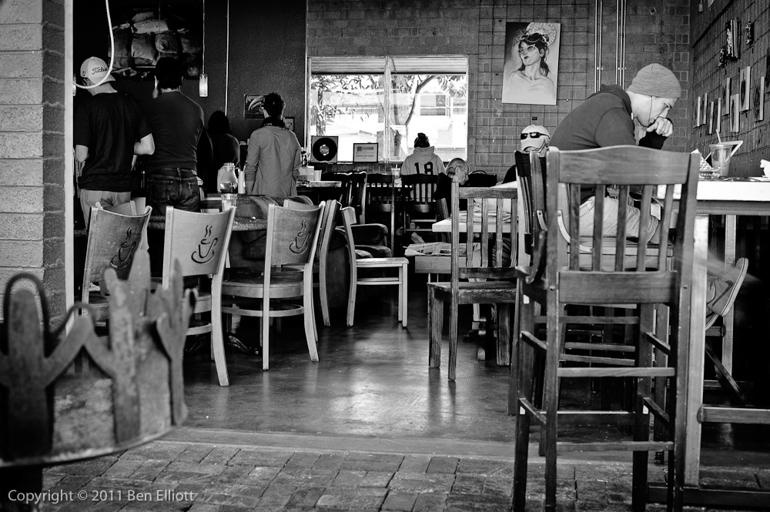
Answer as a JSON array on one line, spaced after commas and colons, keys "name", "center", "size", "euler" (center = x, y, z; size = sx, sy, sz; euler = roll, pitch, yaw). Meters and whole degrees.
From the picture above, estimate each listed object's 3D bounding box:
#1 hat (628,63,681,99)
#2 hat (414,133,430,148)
[{"name": "hat", "center": [1.543, -1.006, 4.714], "size": [0.259, 0.191, 0.190], "euler": [1, 12, 12]}, {"name": "hat", "center": [0.497, -1.509, 10.689], "size": [0.170, 0.227, 0.223], "euler": [1, 3, 10]}]
